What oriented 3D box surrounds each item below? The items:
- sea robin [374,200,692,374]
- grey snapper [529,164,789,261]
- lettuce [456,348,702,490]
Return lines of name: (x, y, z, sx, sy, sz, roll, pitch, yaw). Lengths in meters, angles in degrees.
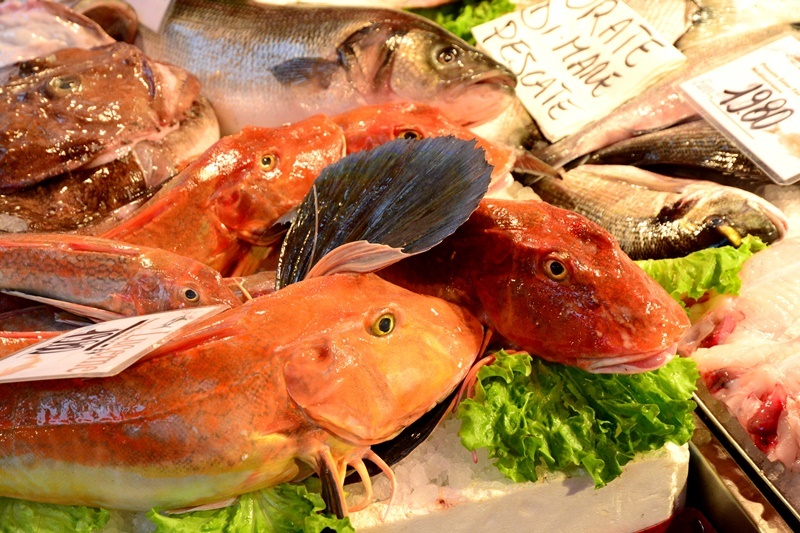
sea robin: (0.505, 0.082, 2.408, 1.143, 0.483, 0.423, 24, -24, 8)
grey snapper: (1.169, -0.237, 3.234, 1.064, 0.437, 0.842, -2, -2, -39)
lettuce: (0.561, 0.477, 2.547, 0.692, 0.498, 0.849, -4, 23, -9)
